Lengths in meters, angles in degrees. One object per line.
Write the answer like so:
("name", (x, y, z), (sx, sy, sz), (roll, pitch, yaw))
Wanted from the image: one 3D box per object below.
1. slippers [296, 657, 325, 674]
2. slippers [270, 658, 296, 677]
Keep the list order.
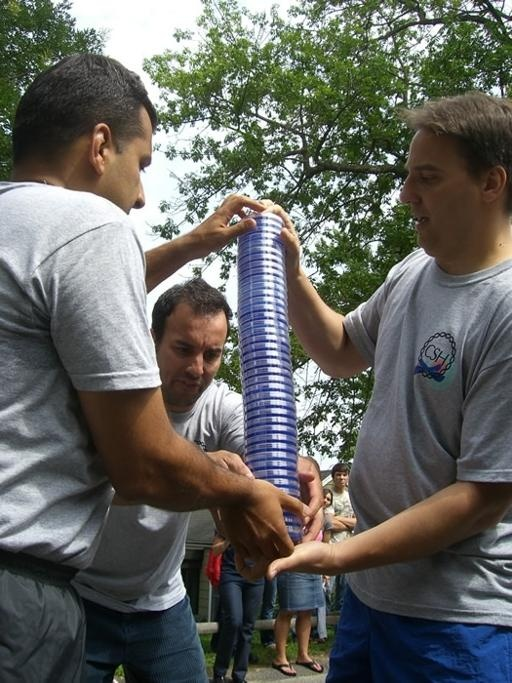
("slippers", (0.593, 3.493, 7.385), (0.241, 0.070, 0.127), (1, -2, 37))
("slippers", (0.290, 3.388, 7.092), (0.105, 0.080, 0.254), (20, -20, -28))
